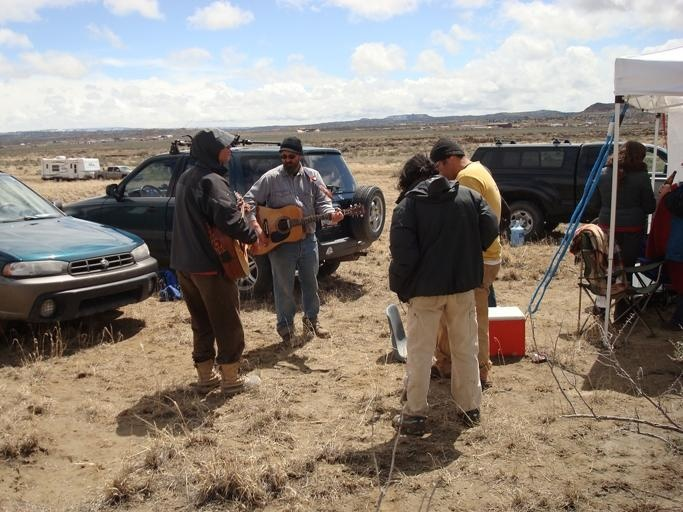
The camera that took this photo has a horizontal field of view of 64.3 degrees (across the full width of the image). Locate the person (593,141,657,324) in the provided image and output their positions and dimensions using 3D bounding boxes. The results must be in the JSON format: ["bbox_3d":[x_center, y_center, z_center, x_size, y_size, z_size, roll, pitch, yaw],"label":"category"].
[{"bbox_3d":[3.470,-0.278,6.656,0.636,2.191,0.682,4,15,22],"label":"person"}]

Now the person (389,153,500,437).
[{"bbox_3d":[0.870,0.419,4.560,0.904,2.140,0.518,-4,14,-10],"label":"person"}]

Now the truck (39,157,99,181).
[{"bbox_3d":[-20.255,-6.456,40.425,3.493,1.656,2.100,-2,12,-7],"label":"truck"}]

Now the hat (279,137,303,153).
[{"bbox_3d":[-0.579,-1.284,6.381,0.185,0.142,0.234,6,3,27],"label":"hat"}]

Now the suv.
[{"bbox_3d":[-1.789,-0.756,8.943,4.988,2.265,2.337,7,12,20],"label":"suv"}]

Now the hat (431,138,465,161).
[{"bbox_3d":[1.016,-1.003,5.162,0.304,0.262,0.227,17,19,17],"label":"hat"}]

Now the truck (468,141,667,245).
[{"bbox_3d":[4.384,-1.450,11.395,3.876,1.835,2.108,-4,12,15],"label":"truck"}]

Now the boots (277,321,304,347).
[{"bbox_3d":[-0.606,0.999,6.576,0.243,0.416,0.345,-11,-13,-9],"label":"boots"}]

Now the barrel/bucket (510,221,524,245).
[{"bbox_3d":[3.634,-0.443,11.151,0.304,0.425,0.642,3,14,18],"label":"barrel/bucket"}]

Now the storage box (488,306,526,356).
[{"bbox_3d":[1.844,0.840,6.198,0.489,0.467,0.486,-3,8,5],"label":"storage box"}]
